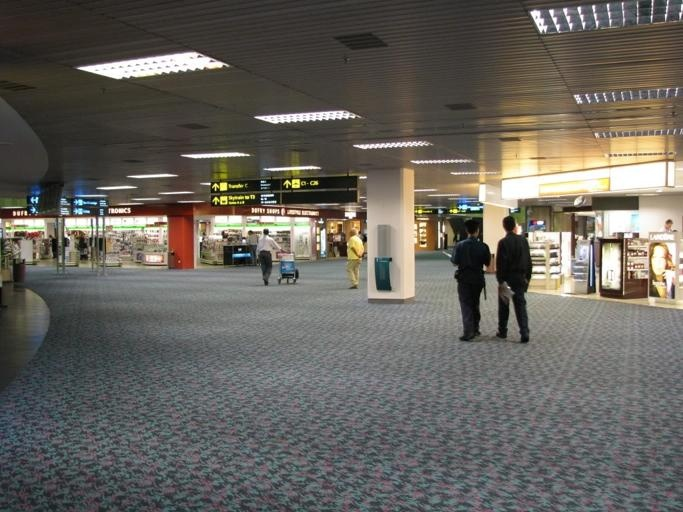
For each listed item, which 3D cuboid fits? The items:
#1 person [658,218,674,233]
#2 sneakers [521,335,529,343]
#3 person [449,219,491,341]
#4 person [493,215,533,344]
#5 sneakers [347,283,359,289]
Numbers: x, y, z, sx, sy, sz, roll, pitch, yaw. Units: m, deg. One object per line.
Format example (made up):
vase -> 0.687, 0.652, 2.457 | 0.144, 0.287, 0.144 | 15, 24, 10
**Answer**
person -> 11.115, -1.058, 17.261 | 0.308, 0.282, 0.776 | 23, -4, 40
sneakers -> 3.020, 1.340, 8.311 | 0.145, 0.123, 0.195 | 0, 2, 14
person -> 2.236, 0.387, 8.677 | 0.603, 2.034, 0.991 | 0, 2, 15
person -> 2.933, 0.358, 8.624 | 0.563, 2.070, 0.933 | 0, 2, 18
sneakers -> 0.424, 1.025, 17.542 | 0.200, 0.212, 0.524 | 0, 2, -10
